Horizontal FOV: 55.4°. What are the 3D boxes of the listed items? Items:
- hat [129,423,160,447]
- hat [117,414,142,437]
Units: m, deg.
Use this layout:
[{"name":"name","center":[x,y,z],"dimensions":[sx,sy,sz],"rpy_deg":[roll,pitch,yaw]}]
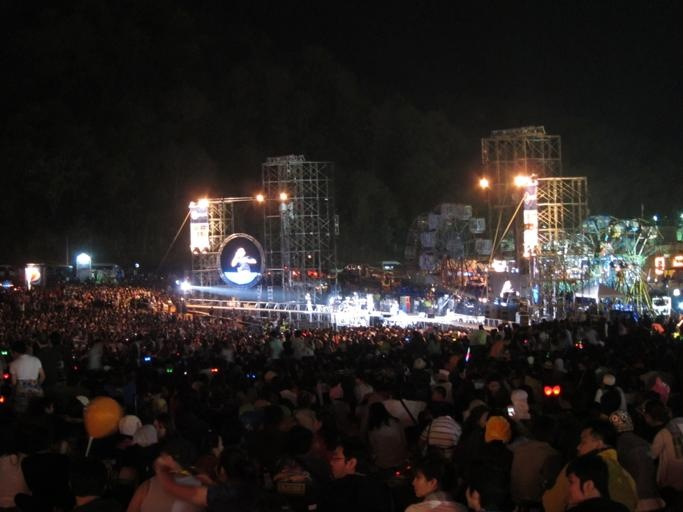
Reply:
[{"name":"hat","center":[-2.507,2.261,8.227],"dimensions":[0.267,0.219,0.209],"rpy_deg":[-9,-1,-44]},{"name":"hat","center":[-2.821,2.224,8.565],"dimensions":[0.220,0.246,0.302],"rpy_deg":[4,7,-33]}]
